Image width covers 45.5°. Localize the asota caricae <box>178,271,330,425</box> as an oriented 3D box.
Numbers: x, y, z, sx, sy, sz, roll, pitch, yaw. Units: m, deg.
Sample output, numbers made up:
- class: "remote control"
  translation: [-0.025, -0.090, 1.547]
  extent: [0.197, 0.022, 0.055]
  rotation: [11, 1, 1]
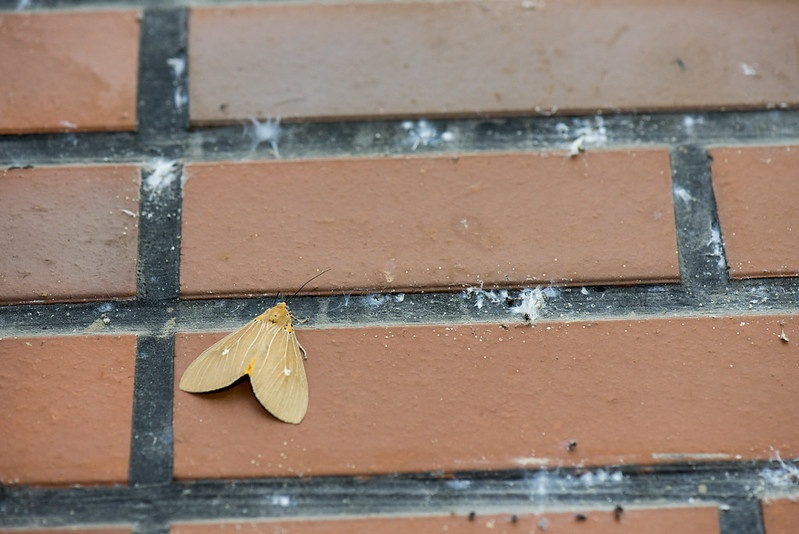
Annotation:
- class: "asota caricae"
  translation: [-0.349, 0.203, 2.324]
  extent: [0.316, 0.035, 0.288]
  rotation: [16, 82, 1]
